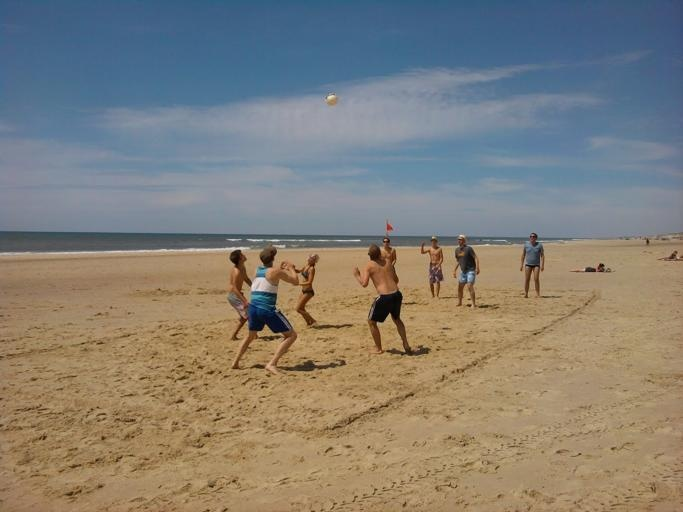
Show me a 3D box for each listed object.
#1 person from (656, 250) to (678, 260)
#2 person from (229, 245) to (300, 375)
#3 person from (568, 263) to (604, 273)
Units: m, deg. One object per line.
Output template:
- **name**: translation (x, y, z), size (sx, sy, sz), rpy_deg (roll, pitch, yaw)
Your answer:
- **person**: translation (13.841, -0.048, 25.225), size (0.628, 0.290, 3.101), rpy_deg (2, 6, 29)
- **person**: translation (-1.156, 0.776, 9.320), size (1.019, 1.899, 1.277), rpy_deg (-2, 6, -5)
- **person**: translation (8.496, 0.401, 20.402), size (1.039, 0.314, 1.068), rpy_deg (0, 5, 8)
